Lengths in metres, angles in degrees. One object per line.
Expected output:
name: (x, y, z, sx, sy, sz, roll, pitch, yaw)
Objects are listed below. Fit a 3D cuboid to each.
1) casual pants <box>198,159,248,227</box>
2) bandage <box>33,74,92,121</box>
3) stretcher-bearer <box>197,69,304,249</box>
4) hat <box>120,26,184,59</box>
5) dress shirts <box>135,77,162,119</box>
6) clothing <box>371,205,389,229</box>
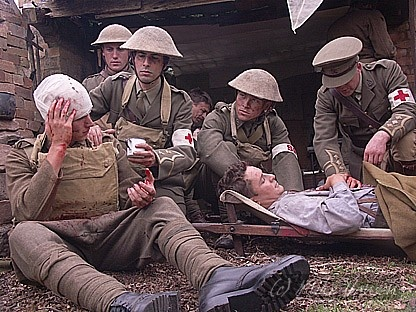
casual pants: (0.039, 0.384, 4.484, 0.503, 0.581, 0.237, 23, 18, 19)
bandage: (-1.008, -0.442, 2.956, 0.399, 0.322, 0.300, 15, 20, 0)
stretcher-bearer: (0.417, 0.024, 4.409, 1.138, 1.800, 1.612, 1, 1, -25)
hat: (-0.575, -1.211, 4.205, 0.747, 0.317, 0.775, 3, 13, -8)
dress shirts: (-0.586, -0.605, 4.067, 0.150, 0.224, 0.255, -40, 39, -25)
clothing: (1.363, 0.484, 3.152, 0.160, 0.151, 0.039, -5, -19, 20)
